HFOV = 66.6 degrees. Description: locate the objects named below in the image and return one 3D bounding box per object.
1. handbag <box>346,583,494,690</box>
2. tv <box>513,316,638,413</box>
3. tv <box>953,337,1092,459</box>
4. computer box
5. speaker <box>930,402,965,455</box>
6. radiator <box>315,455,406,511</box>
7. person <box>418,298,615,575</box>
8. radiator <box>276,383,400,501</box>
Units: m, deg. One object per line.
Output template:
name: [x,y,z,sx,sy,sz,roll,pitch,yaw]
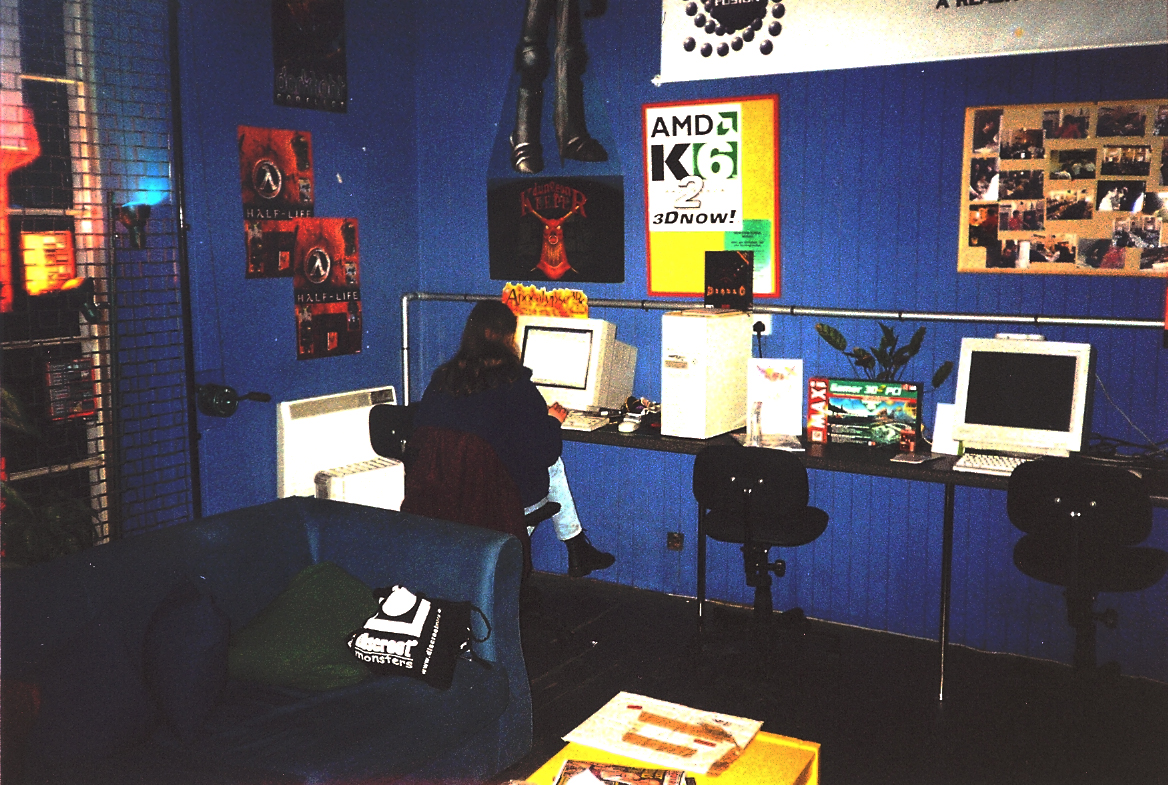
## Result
handbag: [-0.639,0.934,3.548,0.536,0.154,0.435,18,50,16]
tv: [-0.227,-0.165,5.251,0.564,0.474,0.316,6,-5,-28]
tv: [2.177,-0.053,4.447,0.586,0.555,0.335,5,23,28]
computer box: [0.672,-0.119,4.915,0.359,0.663,0.594,7,15,33]
speaker: [1.794,0.181,4.431,0.181,0.367,0.077,-1,-7,42]
radiator: [-1.226,0.496,4.877,0.152,0.331,0.332,1,8,34]
person: [-0.375,0.259,4.548,0.764,1.519,1.129,14,20,40]
radiator: [-1.367,0.268,5.083,0.731,0.535,0.075,-10,-16,12]
